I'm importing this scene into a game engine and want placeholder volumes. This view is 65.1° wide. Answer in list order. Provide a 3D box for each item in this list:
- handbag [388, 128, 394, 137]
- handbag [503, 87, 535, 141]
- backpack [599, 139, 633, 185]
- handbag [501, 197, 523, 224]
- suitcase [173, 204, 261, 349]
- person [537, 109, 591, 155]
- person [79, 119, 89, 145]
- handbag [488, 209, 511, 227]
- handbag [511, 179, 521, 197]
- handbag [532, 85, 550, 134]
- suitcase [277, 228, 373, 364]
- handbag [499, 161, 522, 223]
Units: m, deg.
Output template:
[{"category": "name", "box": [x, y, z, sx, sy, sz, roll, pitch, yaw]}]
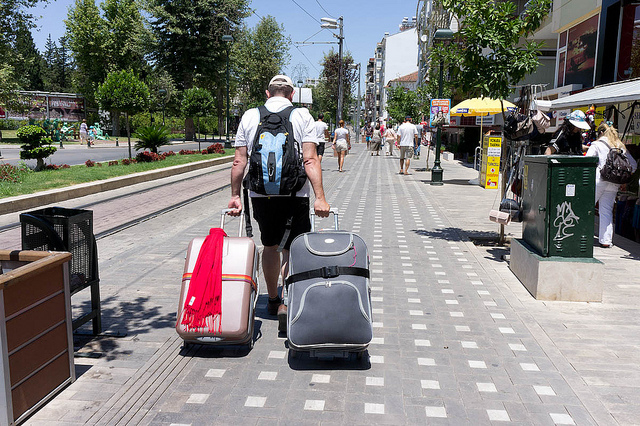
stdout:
[{"category": "handbag", "box": [4.546, -5.123, 32.224, 0.330, 0.516, 0.899, 1, 14, 4]}, {"category": "handbag", "box": [3.494, -1.706, 8.727, 0.616, 0.969, 0.410, 12, 23, 37]}, {"category": "backpack", "box": [5.245, -0.813, 8.910, 0.489, 0.624, 0.382, 5, 14, 20]}, {"category": "handbag", "box": [3.365, -0.044, 8.730, 0.271, 0.437, 0.398, 15, -1, 16]}, {"category": "suitcase", "box": [-1.079, 0.685, 5.626, 0.770, 1.602, 0.661, 5, -21, -4]}, {"category": "person", "box": [4.249, -1.362, 8.596, 0.566, 0.762, 0.837, 7, 15, 28]}, {"category": "person", "box": [-19.084, -6.580, 40.514, 0.566, 1.672, 3.432, -6, 15, -24]}, {"category": "handbag", "box": [3.098, 0.090, 8.626, 0.194, 0.304, 0.461, 21, -7, -38]}, {"category": "handbag", "box": [3.398, -0.448, 8.723, 0.087, 0.251, 0.235, 4, 8, -12]}, {"category": "handbag", "box": [3.775, -1.689, 8.615, 0.183, 0.443, 0.309, -14, -13, 23]}, {"category": "suitcase", "box": [0.085, 0.809, 5.178, 0.841, 1.119, 0.539, -1, 13, -5]}, {"category": "handbag", "box": [3.270, -0.258, 8.547, 0.229, 0.571, 0.109, 16, 18, 27]}]
